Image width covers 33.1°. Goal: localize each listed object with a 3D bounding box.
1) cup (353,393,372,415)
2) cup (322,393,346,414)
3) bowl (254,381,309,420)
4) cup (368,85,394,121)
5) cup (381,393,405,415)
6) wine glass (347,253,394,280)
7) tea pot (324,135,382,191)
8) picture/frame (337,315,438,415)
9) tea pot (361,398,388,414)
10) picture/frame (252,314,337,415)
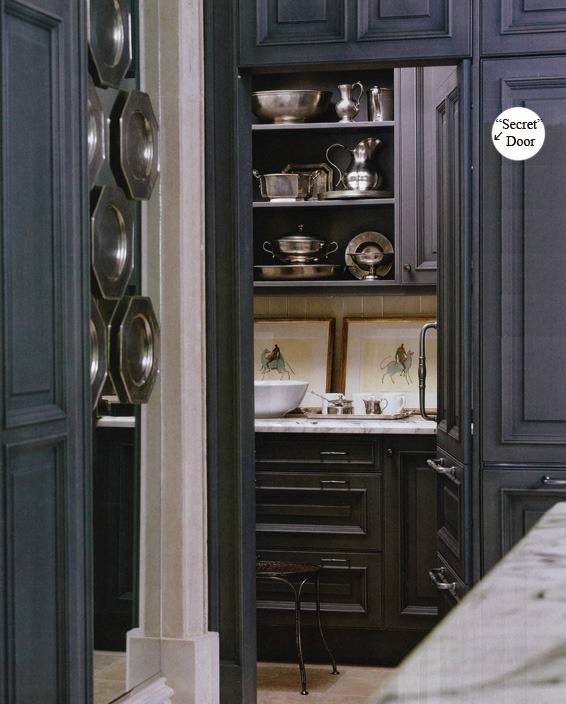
[{"bbox_3d":[0.317,0.204,3.669,0.082,0.089,0.051,0,-6,9],"label":"cup"},{"bbox_3d":[0.196,0.207,3.652,0.078,0.063,0.061,1,-3,13],"label":"cup"},{"bbox_3d":[-0.008,0.182,3.526,0.230,0.143,0.159,-12,0,-26],"label":"bowl"},{"bbox_3d":[0.379,-0.941,3.657,0.085,0.143,0.139,3,8,22],"label":"cup"},{"bbox_3d":[0.433,0.208,3.714,0.091,0.098,0.058,3,-10,-8],"label":"cup"},{"bbox_3d":[0.354,-0.328,3.724,0.130,0.085,0.121,1,-7,6],"label":"wine glass"},{"bbox_3d":[0.297,-0.726,3.762,0.238,0.259,0.176,-1,1,7],"label":"tea pot"},{"bbox_3d":[0.429,0.071,3.783,0.363,0.396,0.026,0,-6,6],"label":"picture/frame"},{"bbox_3d":[0.349,0.210,3.599,0.080,0.058,0.051,2,-3,-10],"label":"tea pot"},{"bbox_3d":[0.064,0.068,3.800,0.363,0.457,0.022,0,-6,13],"label":"picture/frame"}]
